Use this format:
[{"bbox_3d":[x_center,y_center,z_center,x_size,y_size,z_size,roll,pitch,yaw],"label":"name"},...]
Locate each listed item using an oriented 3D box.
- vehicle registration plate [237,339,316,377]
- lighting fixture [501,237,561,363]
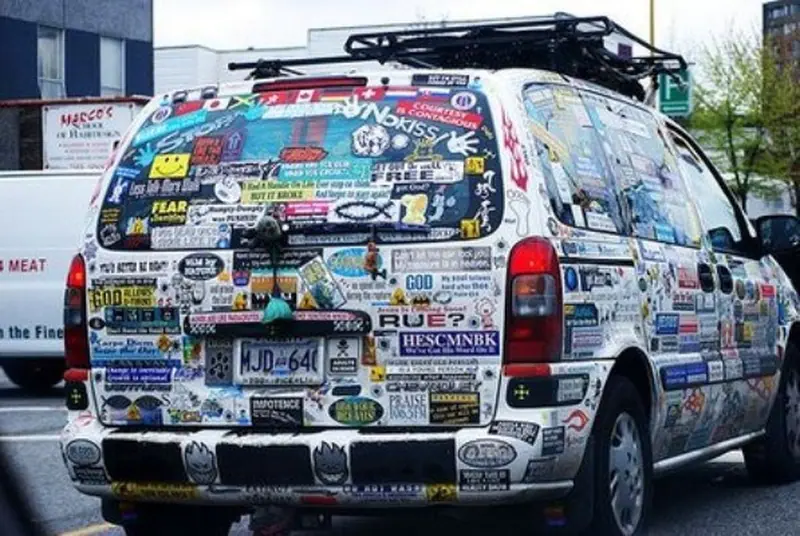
[{"bbox_3d":[-0.713,0.524,6.673,0.617,0.266,0.049,4,-8,-44],"label":"vehicle registration plate"},{"bbox_3d":[0.723,0.174,6.519,0.361,0.691,0.156,-4,7,-5],"label":"lighting fixture"}]
